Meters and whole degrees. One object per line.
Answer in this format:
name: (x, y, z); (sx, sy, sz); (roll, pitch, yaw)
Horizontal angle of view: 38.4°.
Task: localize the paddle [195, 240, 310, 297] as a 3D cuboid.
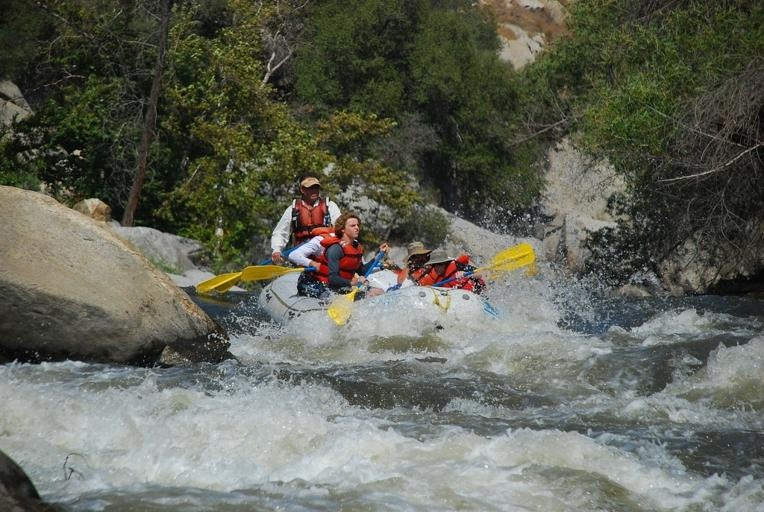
paddle: (-2.886, 0.318, 24.219); (3.026, 0.172, 0.625); (-18, 55, -1)
